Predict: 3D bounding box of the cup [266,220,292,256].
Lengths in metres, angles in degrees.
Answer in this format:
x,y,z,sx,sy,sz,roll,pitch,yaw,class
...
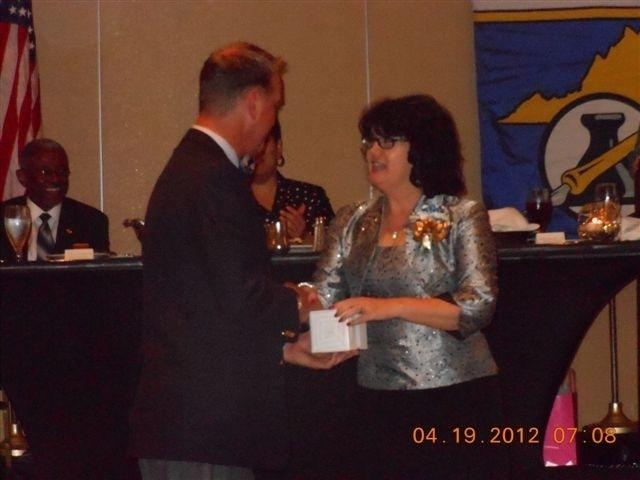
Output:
x,y,z,sx,sy,sz,roll,pitch,yaw,class
-0.211,-0.012,4.019,0.147,0.212,0.142,-5,-19,-2,cup

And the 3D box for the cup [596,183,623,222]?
x,y,z,sx,sy,sz,roll,pitch,yaw,class
1.391,-0.182,3.948,0.117,0.193,0.176,-1,-2,19,cup

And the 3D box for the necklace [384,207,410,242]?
x,y,z,sx,sy,sz,roll,pitch,yaw,class
0.335,-0.063,3.662,0.097,0.142,0.037,-4,-22,32,necklace

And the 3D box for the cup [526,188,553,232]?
x,y,z,sx,sy,sz,roll,pitch,yaw,class
1.097,-0.156,4.083,0.127,0.215,0.198,0,-2,3,cup
